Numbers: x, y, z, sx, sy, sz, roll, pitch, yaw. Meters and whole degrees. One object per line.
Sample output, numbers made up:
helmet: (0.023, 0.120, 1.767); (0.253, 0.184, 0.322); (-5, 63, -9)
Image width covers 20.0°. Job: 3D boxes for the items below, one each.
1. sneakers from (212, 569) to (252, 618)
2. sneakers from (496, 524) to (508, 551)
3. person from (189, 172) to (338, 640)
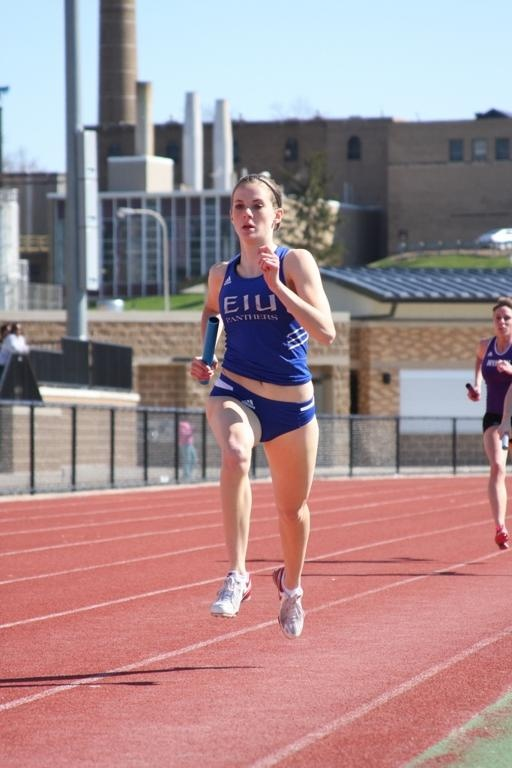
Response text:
sneakers: (-0.095, 0.794, 5.458); (0.074, 0.126, 0.268); (3, 10, 13)
sneakers: (1.497, 0.957, 8.828); (0.062, 0.215, 0.092); (-4, 45, 9)
person: (0.034, 0.140, 5.632); (0.575, 1.919, 0.723); (-1, 5, -3)
